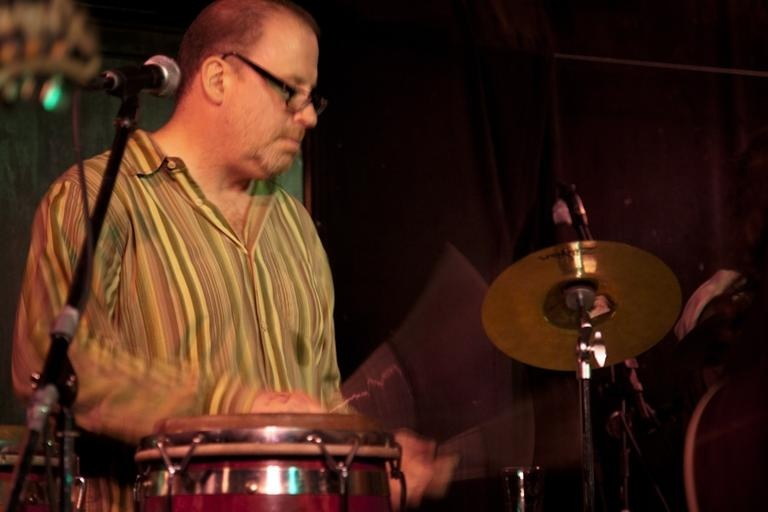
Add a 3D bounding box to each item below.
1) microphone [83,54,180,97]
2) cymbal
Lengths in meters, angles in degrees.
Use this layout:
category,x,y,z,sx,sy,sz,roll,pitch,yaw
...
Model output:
category,x,y,z,sx,sy,sz,roll,pitch,yaw
microphone,-0.701,-0.516,2.606,0.106,0.110,0.383,-56,-15,25
cymbal,0.732,0.193,3.345,0.724,0.408,0.387,-3,-14,18
